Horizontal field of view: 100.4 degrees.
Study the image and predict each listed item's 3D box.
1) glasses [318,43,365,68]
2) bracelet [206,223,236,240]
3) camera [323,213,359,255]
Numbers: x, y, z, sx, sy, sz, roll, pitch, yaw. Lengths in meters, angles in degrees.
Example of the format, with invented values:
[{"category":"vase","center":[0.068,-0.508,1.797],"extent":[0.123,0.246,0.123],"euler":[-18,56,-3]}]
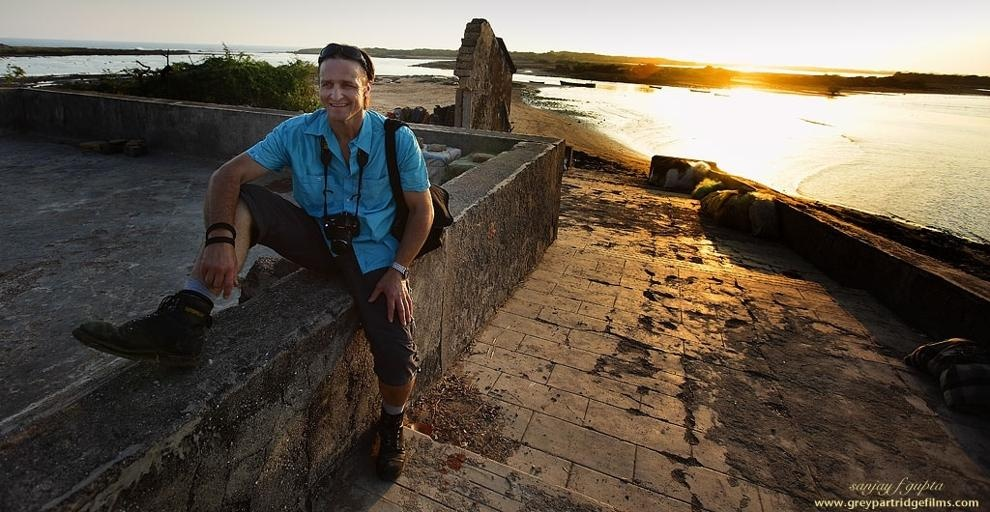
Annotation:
[{"category":"glasses","center":[-1.205,-1.615,3.324],"extent":[0.393,0.158,0.186],"euler":[-4,29,-15]},{"category":"bracelet","center":[-2.074,-0.199,3.135],"extent":[0.161,0.155,0.042],"euler":[18,52,-35]},{"category":"camera","center":[-1.252,-0.172,3.359],"extent":[0.334,0.302,0.227],"euler":[3,-5,-42]}]
